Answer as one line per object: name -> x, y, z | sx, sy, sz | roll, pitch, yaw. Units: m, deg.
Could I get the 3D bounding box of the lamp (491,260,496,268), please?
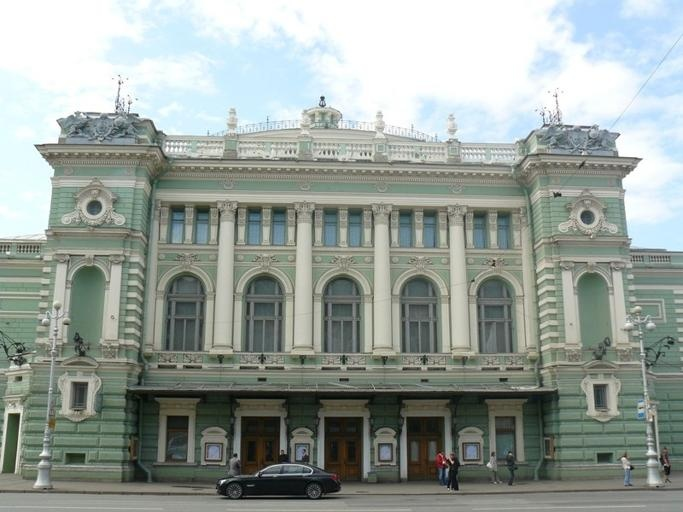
lamp -> 9.304, 0.432, 47.231 | 0.257, 0.556, 0.081 | 2, -17, -8

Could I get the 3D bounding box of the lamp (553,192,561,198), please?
lamp -> 12.520, -3.618, 44.929 | 0.405, 0.106, 0.356 | 4, -16, -13
